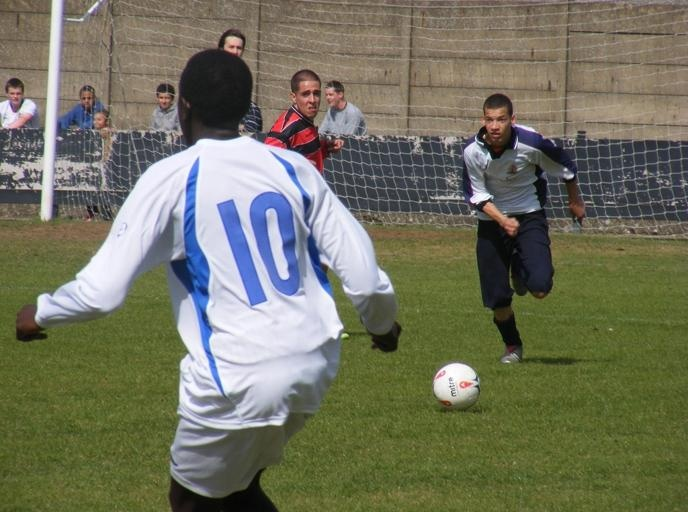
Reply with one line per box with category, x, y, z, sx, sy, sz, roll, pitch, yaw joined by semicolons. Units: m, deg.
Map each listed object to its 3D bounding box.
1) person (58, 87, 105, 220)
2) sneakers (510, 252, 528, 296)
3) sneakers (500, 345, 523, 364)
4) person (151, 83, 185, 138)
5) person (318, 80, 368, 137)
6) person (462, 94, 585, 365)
person;-3.844;-1.655;16.244;0.802;1.921;0.598;0;-20;-21
sneakers;1.646;0.190;10.195;0.123;0.422;0.163;-4;26;2
sneakers;1.574;0.908;10.083;0.329;0.145;0.152;-3;4;-40
person;-2.656;-1.915;16.112;0.450;1.116;0.344;0;-16;-2
person;-0.068;-2.127;16.240;0.830;0.922;0.698;-6;11;-20
person;1.615;-0.251;10.097;1.016;2.455;0.627;1;3;6
